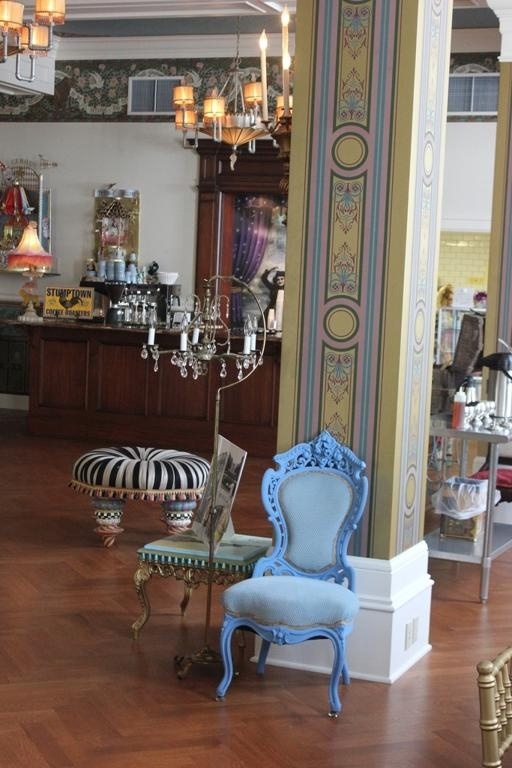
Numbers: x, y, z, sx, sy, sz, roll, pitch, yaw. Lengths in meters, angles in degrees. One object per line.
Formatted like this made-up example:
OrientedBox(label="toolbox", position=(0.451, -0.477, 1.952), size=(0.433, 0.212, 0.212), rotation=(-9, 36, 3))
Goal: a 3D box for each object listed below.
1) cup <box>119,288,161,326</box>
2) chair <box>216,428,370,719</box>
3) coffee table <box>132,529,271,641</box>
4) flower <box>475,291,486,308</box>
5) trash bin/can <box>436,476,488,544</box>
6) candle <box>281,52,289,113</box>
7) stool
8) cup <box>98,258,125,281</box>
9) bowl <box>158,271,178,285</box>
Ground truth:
OrientedBox(label="cup", position=(-1.325, -0.876, 8.441), size=(0.501, 0.493, 0.475), rotation=(4, 3, 0))
OrientedBox(label="chair", position=(0.144, 0.642, 2.696), size=(0.473, 0.666, 0.606), rotation=(4, 2, 9))
OrientedBox(label="coffee table", position=(-0.386, 0.863, 3.149), size=(0.565, 0.337, 0.512), rotation=(4, -12, -23))
OrientedBox(label="flower", position=(2.795, -1.066, 9.332), size=(0.118, 0.165, 0.292), rotation=(4, 2, 9))
OrientedBox(label="trash bin/can", position=(1.144, 0.713, 4.244), size=(0.308, 0.297, 0.291), rotation=(5, -3, -6))
OrientedBox(label="candle", position=(0.153, -1.525, 3.760), size=(0.054, 0.249, 0.049), rotation=(3, 21, 12))
OrientedBox(label="stool", position=(-0.730, 0.711, 4.850), size=(0.840, 0.507, 0.824), rotation=(1, 3, 2))
OrientedBox(label="cup", position=(-1.849, -1.457, 9.611), size=(0.303, 0.302, 0.324), rotation=(3, 5, 0))
OrientedBox(label="bowl", position=(-1.039, -1.232, 8.743), size=(0.244, 0.145, 0.228), rotation=(0, 2, 0))
